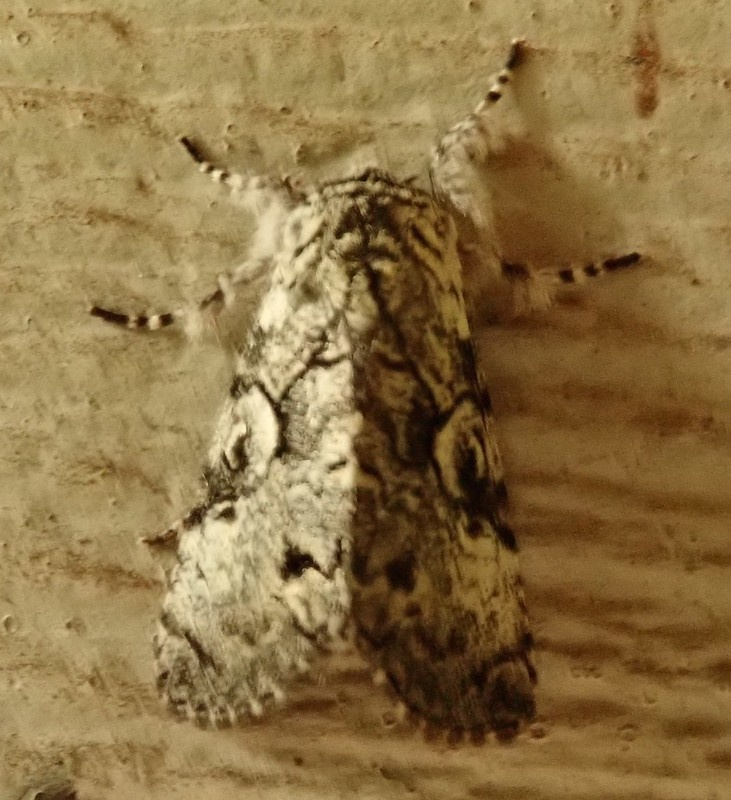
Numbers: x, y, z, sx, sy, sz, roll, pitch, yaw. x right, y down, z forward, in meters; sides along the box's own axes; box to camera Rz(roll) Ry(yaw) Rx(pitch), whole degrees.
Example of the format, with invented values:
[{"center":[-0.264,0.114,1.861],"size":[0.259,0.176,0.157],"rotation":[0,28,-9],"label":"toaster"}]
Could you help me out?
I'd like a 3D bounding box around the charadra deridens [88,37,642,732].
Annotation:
[{"center":[-0.050,0.025,5.868],"size":[1.059,0.313,1.452],"rotation":[1,87,4],"label":"charadra deridens"}]
